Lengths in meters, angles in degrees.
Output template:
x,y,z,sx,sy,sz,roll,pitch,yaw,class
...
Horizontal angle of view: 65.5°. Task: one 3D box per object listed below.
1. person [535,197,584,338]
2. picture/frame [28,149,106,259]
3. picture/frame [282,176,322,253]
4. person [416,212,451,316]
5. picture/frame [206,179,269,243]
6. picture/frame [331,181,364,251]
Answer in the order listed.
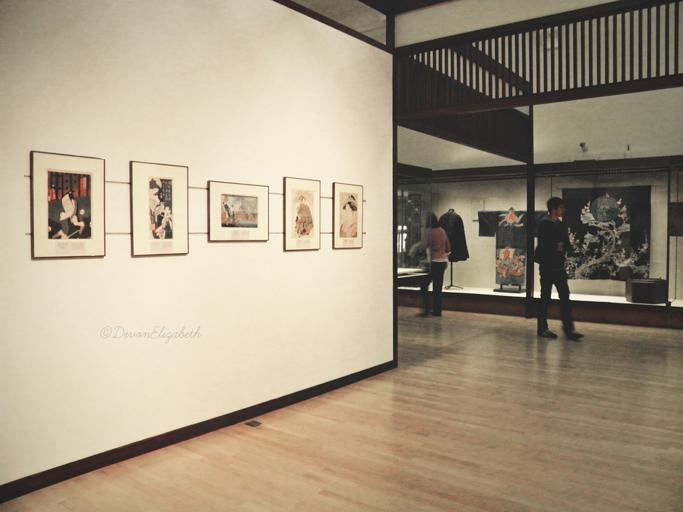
x,y,z,sx,sy,sz,roll,pitch,yaw,class
3.253,0.177,8.010,0.617,2.077,0.543,2,8,12,person
-2.014,-0.368,3.954,0.496,0.867,0.031,-1,-27,-28,picture/frame
-0.424,-0.431,5.457,0.076,1.100,0.654,5,8,37,picture/frame
1.814,0.190,10.280,0.513,1.945,0.993,1,9,11,person
-0.977,-0.410,4.876,0.038,0.507,0.543,2,3,41,picture/frame
0.074,-0.443,6.016,0.030,0.725,0.487,4,3,41,picture/frame
